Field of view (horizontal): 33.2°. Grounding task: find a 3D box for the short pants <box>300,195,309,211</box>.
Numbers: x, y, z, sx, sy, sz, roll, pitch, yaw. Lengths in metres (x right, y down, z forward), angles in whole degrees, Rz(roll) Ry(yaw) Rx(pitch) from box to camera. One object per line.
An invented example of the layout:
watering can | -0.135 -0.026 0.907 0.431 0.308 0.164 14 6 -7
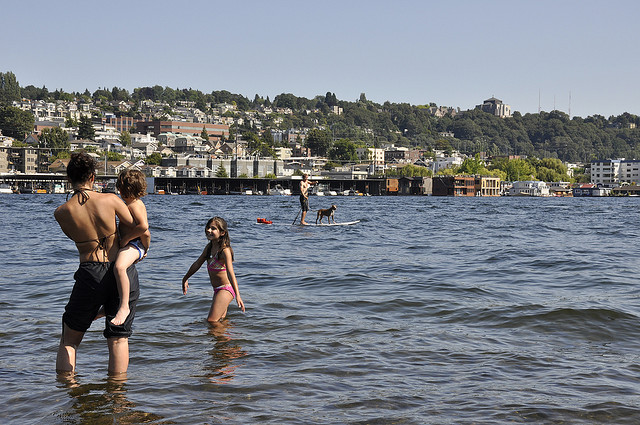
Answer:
short pants | -0.596 -0.432 44.194 0.258 0.656 0.842 -1 2 -3

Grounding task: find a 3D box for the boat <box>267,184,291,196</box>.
boat | -5.758 -3.221 153.198 3.042 1.153 1.731 0 3 30

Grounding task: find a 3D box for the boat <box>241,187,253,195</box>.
boat | -10.355 -3.229 156.727 1.444 0.903 3.506 -1 2 -3

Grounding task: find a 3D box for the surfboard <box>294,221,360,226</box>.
surfboard | 0.261 0.427 44.887 1.842 0.095 2.352 0 2 26

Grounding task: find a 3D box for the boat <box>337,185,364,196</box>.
boat | 5.572 -3.379 167.138 5.339 1.582 1.342 -3 4 -4
